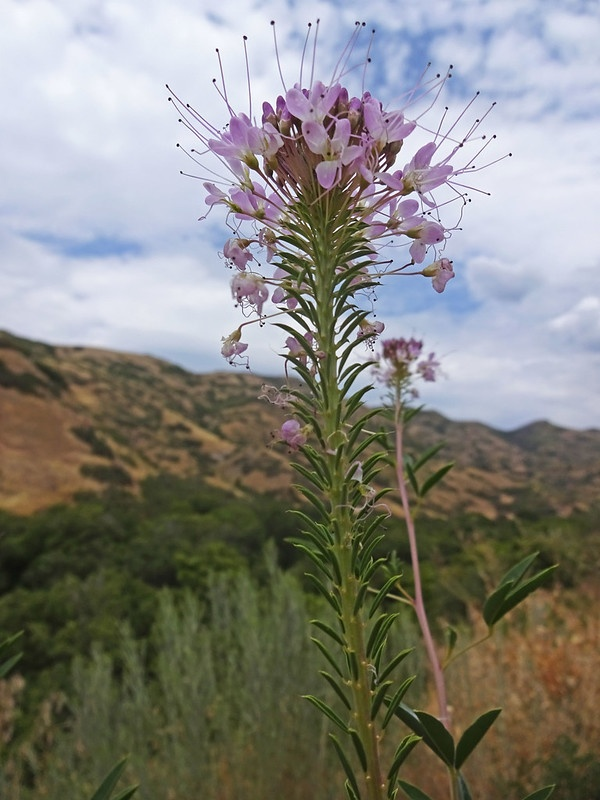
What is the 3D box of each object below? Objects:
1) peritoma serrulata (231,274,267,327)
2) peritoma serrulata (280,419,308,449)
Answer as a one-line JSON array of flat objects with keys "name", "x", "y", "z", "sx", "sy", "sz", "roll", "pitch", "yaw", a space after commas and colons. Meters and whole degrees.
[{"name": "peritoma serrulata", "x": -0.132, "y": -0.265, "z": 1.566, "sx": 0.096, "sy": 0.129, "sz": 0.247, "roll": 4, "pitch": 0, "yaw": -6}, {"name": "peritoma serrulata", "x": -0.015, "y": 0.089, "z": 1.551, "sx": 0.057, "sy": 0.073, "sz": 0.102, "roll": 4, "pitch": 0, "yaw": -27}]
